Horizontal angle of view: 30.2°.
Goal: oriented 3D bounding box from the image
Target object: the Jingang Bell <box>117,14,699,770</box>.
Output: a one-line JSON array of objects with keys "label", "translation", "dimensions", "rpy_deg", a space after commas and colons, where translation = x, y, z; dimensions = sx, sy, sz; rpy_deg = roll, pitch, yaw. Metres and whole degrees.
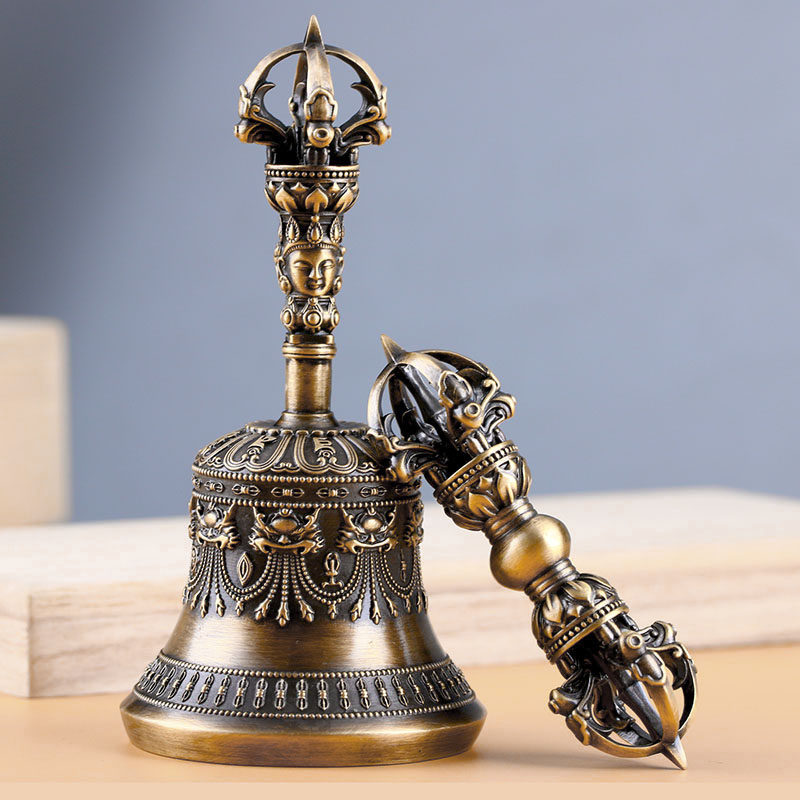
[{"label": "Jingang Bell", "translation": [0.008, -0.006, 0.843], "dimensions": [0.295, 0.428, 0.170], "rpy_deg": [5, 5, 31]}]
